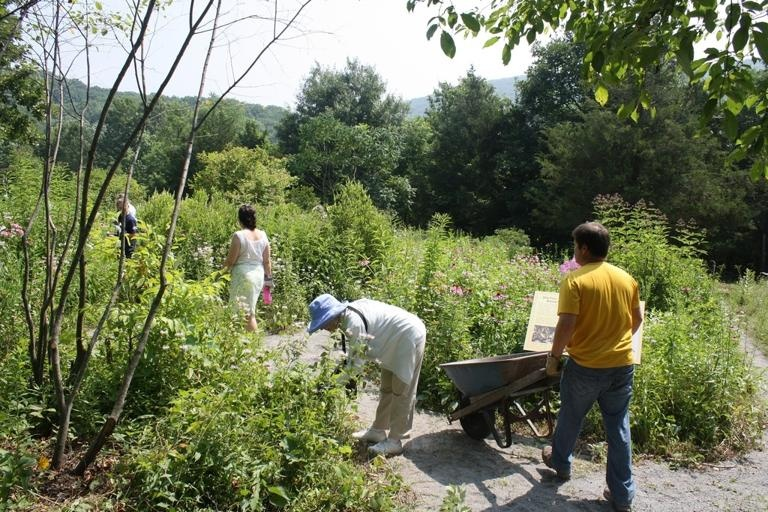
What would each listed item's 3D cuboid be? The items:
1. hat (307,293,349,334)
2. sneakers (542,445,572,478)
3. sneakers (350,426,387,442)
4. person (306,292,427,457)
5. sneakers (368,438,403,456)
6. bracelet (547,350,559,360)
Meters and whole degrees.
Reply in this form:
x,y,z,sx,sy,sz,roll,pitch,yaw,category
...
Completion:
x,y,z,sx,sy,sz,roll,pitch,yaw,category
-0.596,0.621,6.438,0.388,0.421,0.318,6,-5,-4,hat
1.899,2.338,6.717,0.146,0.443,0.197,-33,-36,21,sneakers
-0.154,2.022,6.847,0.427,0.202,0.159,5,13,1,sneakers
-0.154,1.326,6.584,1.162,1.694,0.483,9,-5,-36,person
0.040,2.109,6.763,0.403,0.154,0.185,3,-46,-22,sneakers
1.775,1.029,6.287,0.084,0.076,0.068,-6,12,-43,bracelet
